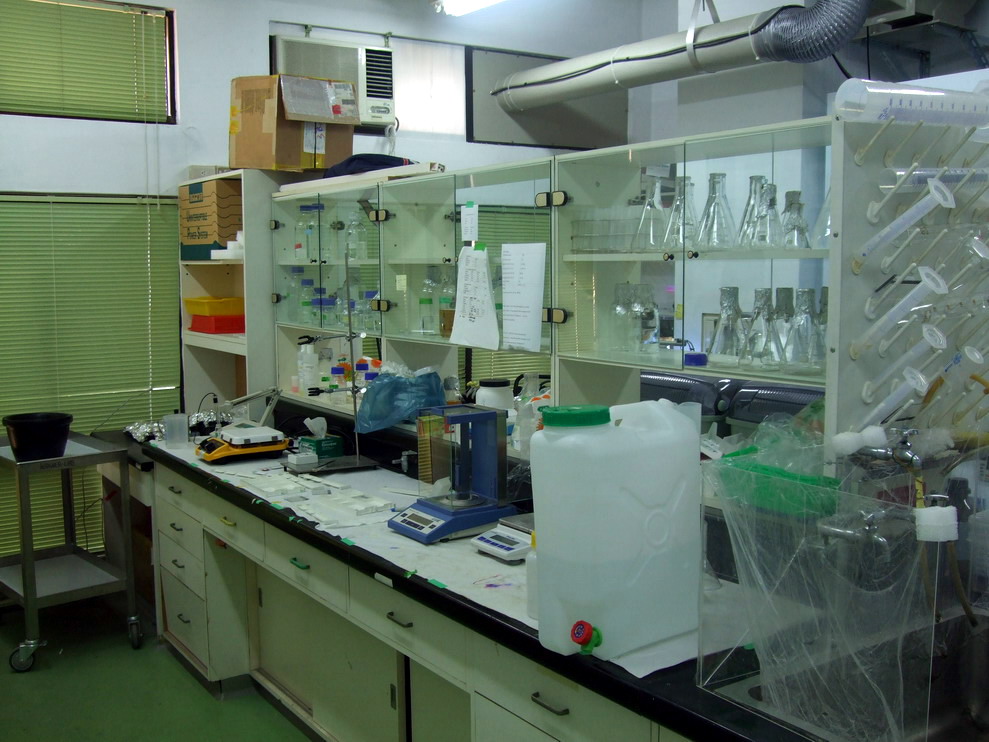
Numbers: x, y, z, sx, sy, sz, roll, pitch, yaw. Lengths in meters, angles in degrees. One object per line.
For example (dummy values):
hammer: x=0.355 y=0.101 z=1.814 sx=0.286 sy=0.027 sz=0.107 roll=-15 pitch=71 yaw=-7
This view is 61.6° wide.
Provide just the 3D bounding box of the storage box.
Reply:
storage box: x=-1.042 y=-1.186 z=4.320 sx=0.465 sy=0.506 sz=0.659 roll=5 pitch=7 yaw=39

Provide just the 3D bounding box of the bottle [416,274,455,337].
bottle: x=-0.227 y=-0.264 z=3.339 sx=0.137 sy=0.272 sz=0.257 roll=1 pitch=0 yaw=-29

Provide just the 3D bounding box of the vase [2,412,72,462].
vase: x=-2.171 y=0.311 z=3.974 sx=0.244 sy=0.177 sz=0.253 roll=2 pitch=-1 yaw=14

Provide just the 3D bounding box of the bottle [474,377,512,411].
bottle: x=0.005 y=0.093 z=3.280 sx=0.115 sy=0.131 sz=0.121 roll=1 pitch=-3 yaw=-5

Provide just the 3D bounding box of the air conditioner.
air conditioner: x=-0.974 y=-1.748 z=5.216 sx=0.706 sy=0.509 sz=0.389 roll=-2 pitch=-5 yaw=-18
